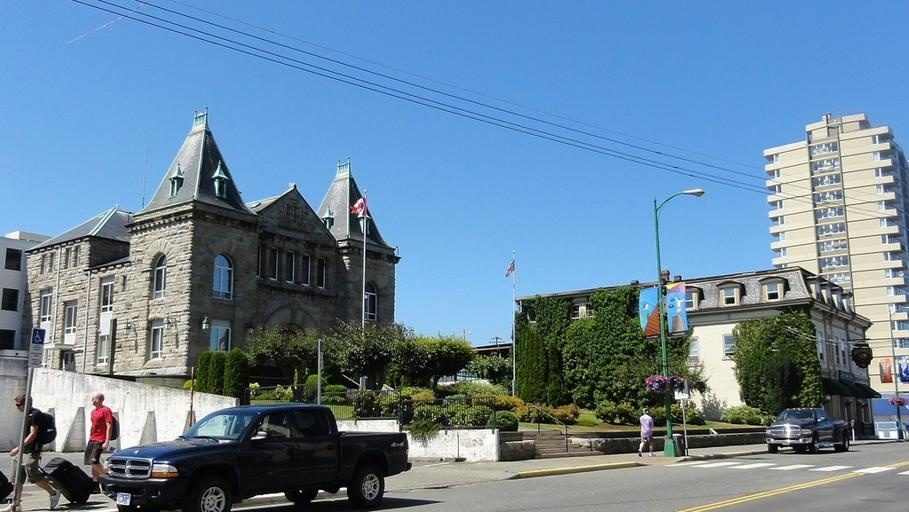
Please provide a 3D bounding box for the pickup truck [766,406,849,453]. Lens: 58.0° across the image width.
[{"bbox_3d":[25.747,12.610,59.253,3.765,2.951,9.465,-7,-11,41],"label":"pickup truck"}]
